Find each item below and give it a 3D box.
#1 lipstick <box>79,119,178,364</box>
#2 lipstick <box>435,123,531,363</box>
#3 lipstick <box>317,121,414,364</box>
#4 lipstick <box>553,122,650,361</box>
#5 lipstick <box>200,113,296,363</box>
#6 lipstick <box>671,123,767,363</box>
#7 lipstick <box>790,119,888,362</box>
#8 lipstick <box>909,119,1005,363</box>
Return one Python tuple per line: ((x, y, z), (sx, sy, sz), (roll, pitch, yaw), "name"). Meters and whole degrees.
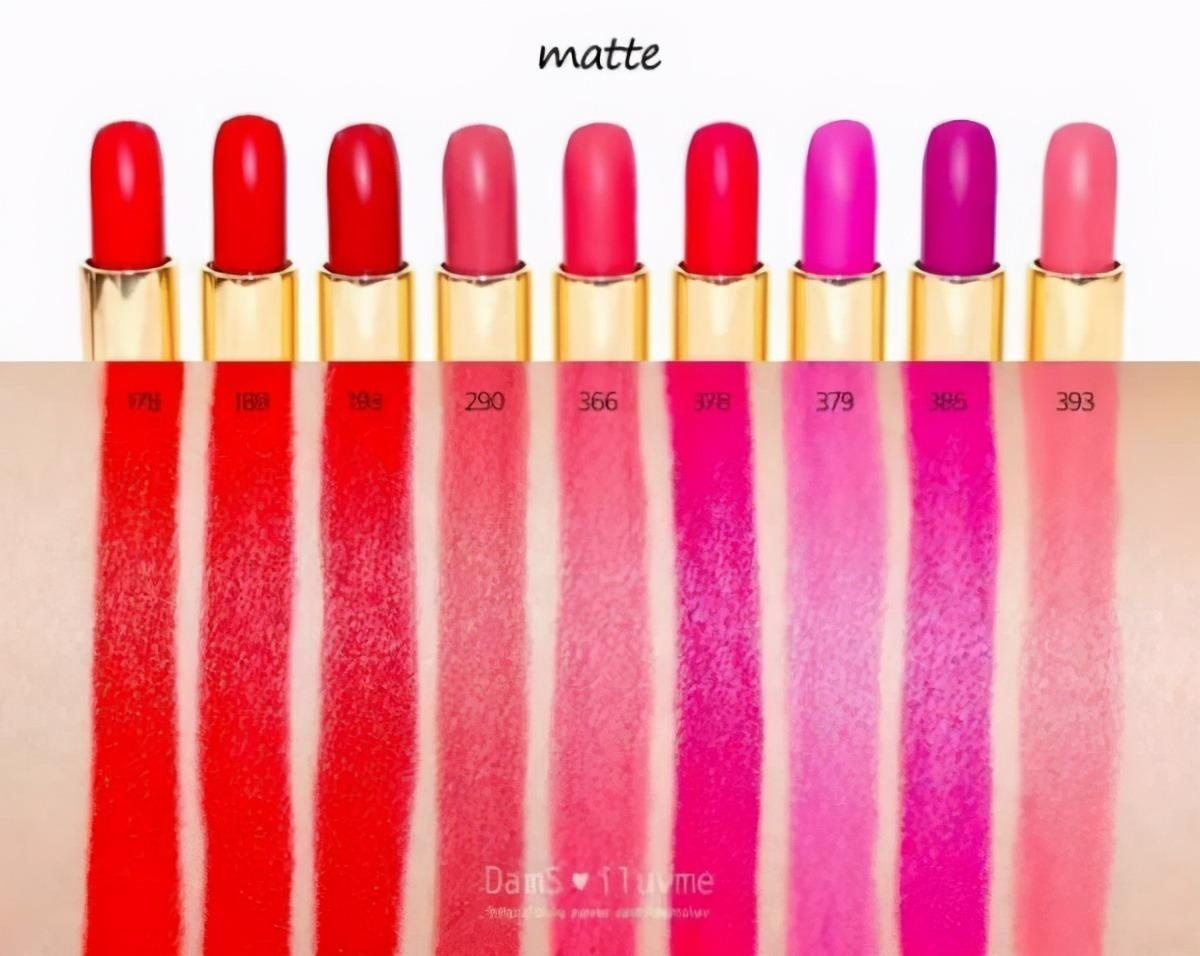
((-0.308, -0.154, 0.887), (0.061, 0.152, 0.042), (0, 0, -13), "lipstick")
((-0.077, -0.138, 0.895), (0.058, 0.195, 0.064), (2, 26, 3), "lipstick")
((-0.153, -0.151, 0.882), (0.059, 0.148, 0.047), (0, 0, -11), "lipstick")
((0.001, -0.152, 0.880), (0.060, 0.149, 0.047), (0, 0, -1), "lipstick")
((-0.229, -0.154, 0.883), (0.061, 0.153, 0.050), (0, 0, -11), "lipstick")
((0.078, -0.151, 0.877), (0.060, 0.149, 0.048), (0, 0, 4), "lipstick")
((0.154, -0.152, 0.881), (0.061, 0.150, 0.050), (0, 0, 9), "lipstick")
((0.232, -0.153, 0.882), (0.060, 0.152, 0.048), (0, 0, 10), "lipstick")
